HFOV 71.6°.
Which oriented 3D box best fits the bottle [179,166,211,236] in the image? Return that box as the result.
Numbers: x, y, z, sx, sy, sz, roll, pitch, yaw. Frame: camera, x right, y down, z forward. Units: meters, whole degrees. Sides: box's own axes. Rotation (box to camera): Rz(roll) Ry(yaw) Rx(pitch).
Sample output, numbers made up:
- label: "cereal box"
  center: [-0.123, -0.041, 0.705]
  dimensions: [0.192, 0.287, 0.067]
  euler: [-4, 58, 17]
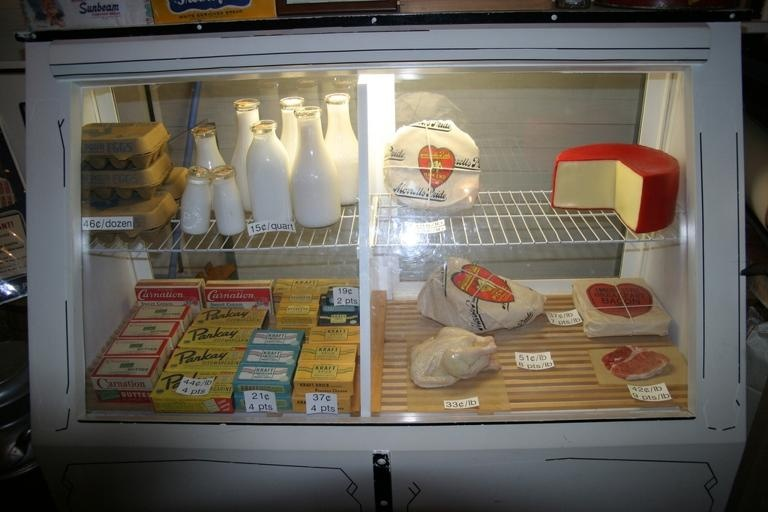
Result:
- label: "bottle"
  center: [-0.713, -0.203, 2.013]
  dimensions: [0.100, 0.234, 0.101]
  euler: [7, 17, -2]
